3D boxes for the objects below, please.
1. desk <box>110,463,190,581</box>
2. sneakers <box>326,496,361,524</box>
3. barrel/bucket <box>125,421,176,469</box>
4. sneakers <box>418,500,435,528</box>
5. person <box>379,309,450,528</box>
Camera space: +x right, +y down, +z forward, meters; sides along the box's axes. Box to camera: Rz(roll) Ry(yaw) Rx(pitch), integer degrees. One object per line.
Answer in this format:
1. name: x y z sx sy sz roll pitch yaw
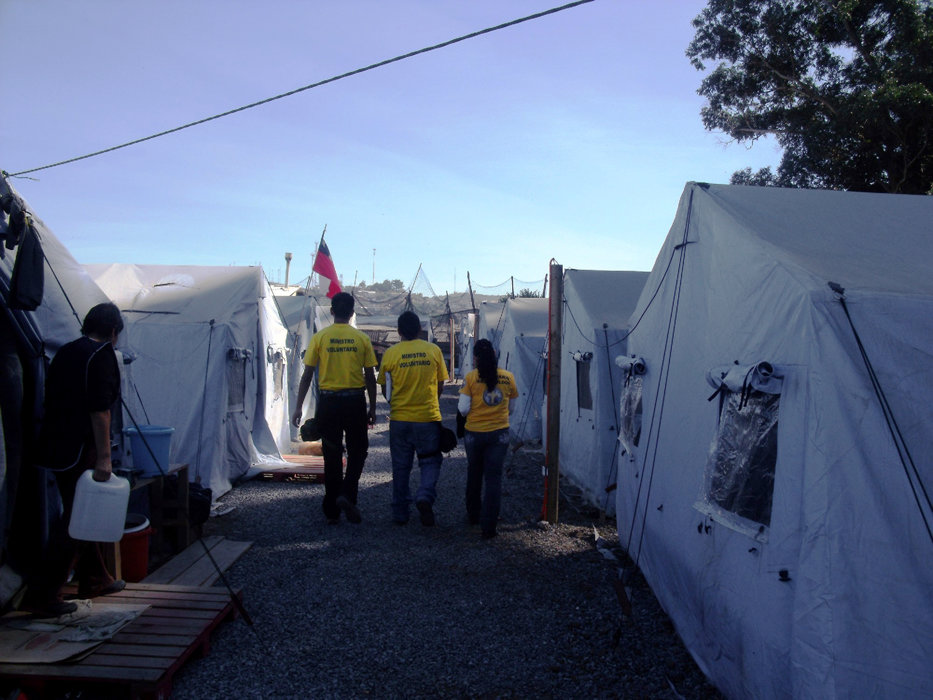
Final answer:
1. desk: -2.771 1.551 6.062 0.589 0.787 1.203 -1 11 -8
2. sneakers: -1.311 1.688 7.125 0.504 0.241 0.194 4 -2 -27
3. barrel/bucket: -2.949 0.907 6.386 0.385 0.407 0.425 1 -6 -20
4. sneakers: -0.418 1.664 7.008 0.114 0.350 0.139 -4 13 -2
5. person: -0.564 0.740 7.183 0.693 2.257 0.778 0 6 -7
